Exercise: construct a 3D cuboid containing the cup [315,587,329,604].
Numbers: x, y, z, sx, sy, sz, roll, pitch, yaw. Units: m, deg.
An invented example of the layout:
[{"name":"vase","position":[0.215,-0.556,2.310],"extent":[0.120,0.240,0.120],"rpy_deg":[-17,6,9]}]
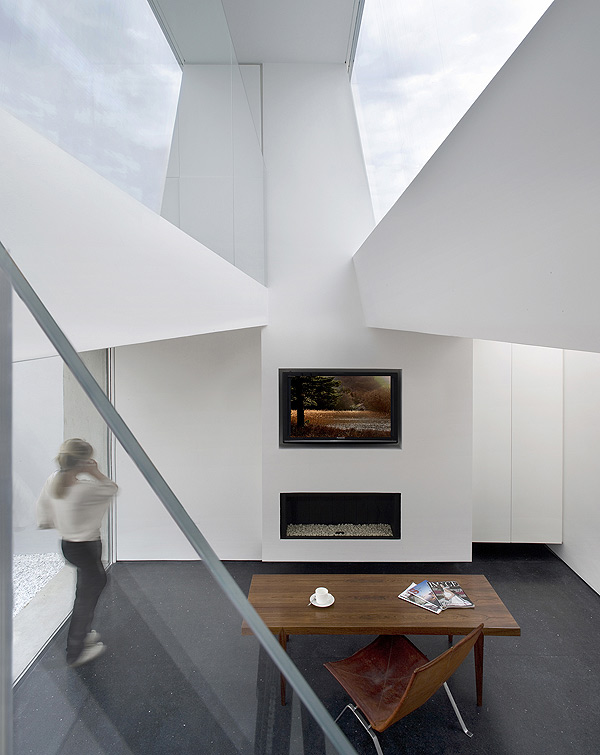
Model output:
[{"name":"cup","position":[0.109,0.988,2.701],"extent":[0.056,0.035,0.060],"rpy_deg":[0,7,0]}]
